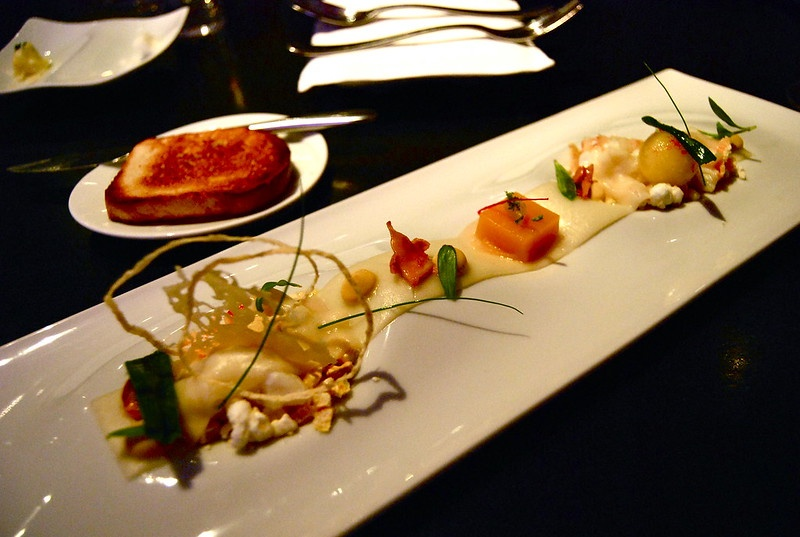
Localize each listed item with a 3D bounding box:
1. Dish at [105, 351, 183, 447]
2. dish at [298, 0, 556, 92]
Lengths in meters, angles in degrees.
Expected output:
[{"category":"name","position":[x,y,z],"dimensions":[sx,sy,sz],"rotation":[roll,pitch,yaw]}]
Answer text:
[{"category":"Dish","position":[-0.857,0.415,2.208],"dimensions":[0.213,0.404,0.118],"rotation":[-9,34,-11]},{"category":"dish","position":[0.096,-1.178,3.541],"dimensions":[0.850,0.098,0.804],"rotation":[-2,37,0]}]
